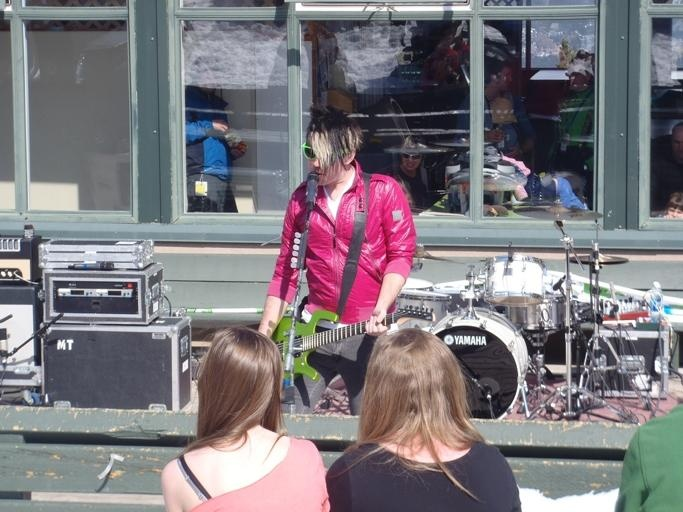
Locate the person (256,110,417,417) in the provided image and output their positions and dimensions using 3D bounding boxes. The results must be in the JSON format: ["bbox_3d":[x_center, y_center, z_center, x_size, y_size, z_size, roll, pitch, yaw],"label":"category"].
[{"bbox_3d":[-0.065,0.488,11.375,1.006,2.904,1.102,-3,-2,3],"label":"person"}]

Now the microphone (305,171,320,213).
[{"bbox_3d":[-0.208,-0.439,11.294,0.070,0.290,0.076,0,-23,12],"label":"microphone"}]

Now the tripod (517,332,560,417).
[{"bbox_3d":[1.459,0.873,12.696,0.514,0.687,0.522,0,-6,-3],"label":"tripod"}]

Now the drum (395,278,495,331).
[{"bbox_3d":[0.775,0.301,12.866,0.663,0.357,0.589,3,12,13],"label":"drum"}]

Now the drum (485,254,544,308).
[{"bbox_3d":[1.264,0.166,12.330,0.368,0.289,0.382,2,-10,0],"label":"drum"}]

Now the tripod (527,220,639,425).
[{"bbox_3d":[1.793,0.492,12.564,0.581,1.567,0.756,0,1,13],"label":"tripod"}]

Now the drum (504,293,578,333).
[{"bbox_3d":[1.450,0.429,12.489,0.314,0.208,0.320,2,-4,0],"label":"drum"}]

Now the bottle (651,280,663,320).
[{"bbox_3d":[2.408,0.318,12.918,0.087,0.254,0.525,0,4,11],"label":"bottle"}]
